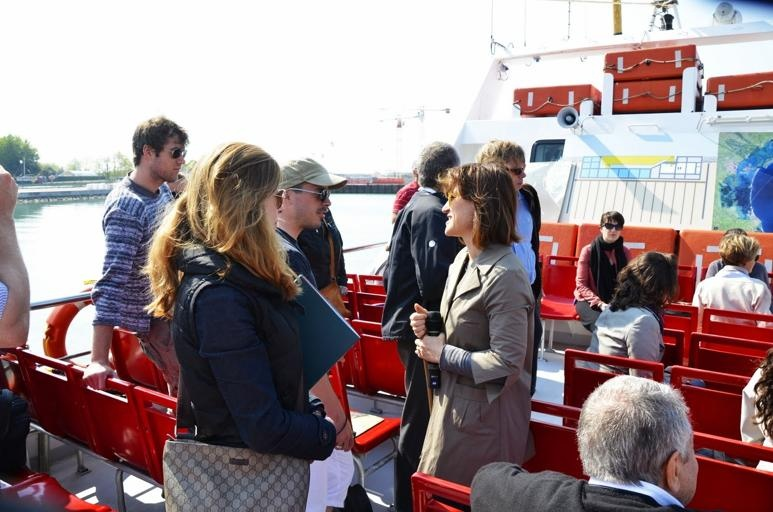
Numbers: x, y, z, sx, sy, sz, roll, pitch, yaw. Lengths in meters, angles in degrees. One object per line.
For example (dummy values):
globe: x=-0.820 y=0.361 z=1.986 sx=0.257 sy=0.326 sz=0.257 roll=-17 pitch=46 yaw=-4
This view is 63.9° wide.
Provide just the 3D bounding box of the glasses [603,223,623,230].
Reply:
glasses: x=2.486 y=-0.331 z=6.713 sx=0.231 sy=0.067 sz=0.122 roll=-1 pitch=6 yaw=-21

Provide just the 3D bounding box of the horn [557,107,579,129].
horn: x=2.866 y=-2.199 z=9.749 sx=0.191 sy=0.335 sz=0.326 roll=11 pitch=-26 yaw=40
